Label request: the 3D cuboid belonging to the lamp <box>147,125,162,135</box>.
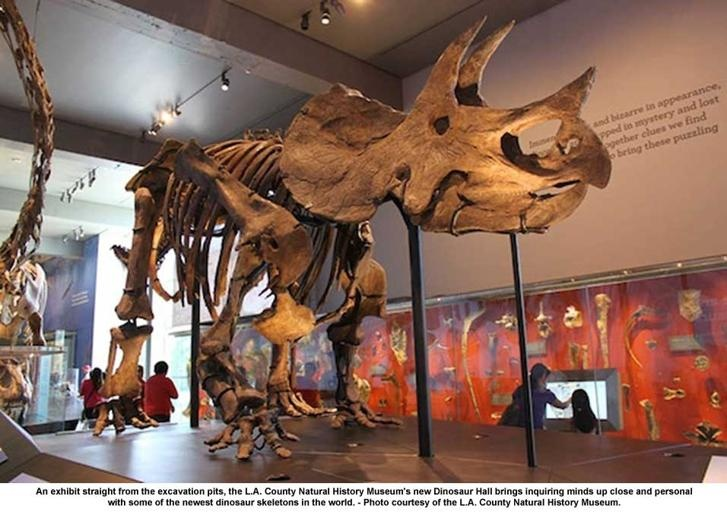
[{"bbox_3d":[-3.337,-2.005,8.629,0.149,0.046,0.152,18,-49,-20],"label":"lamp"}]
